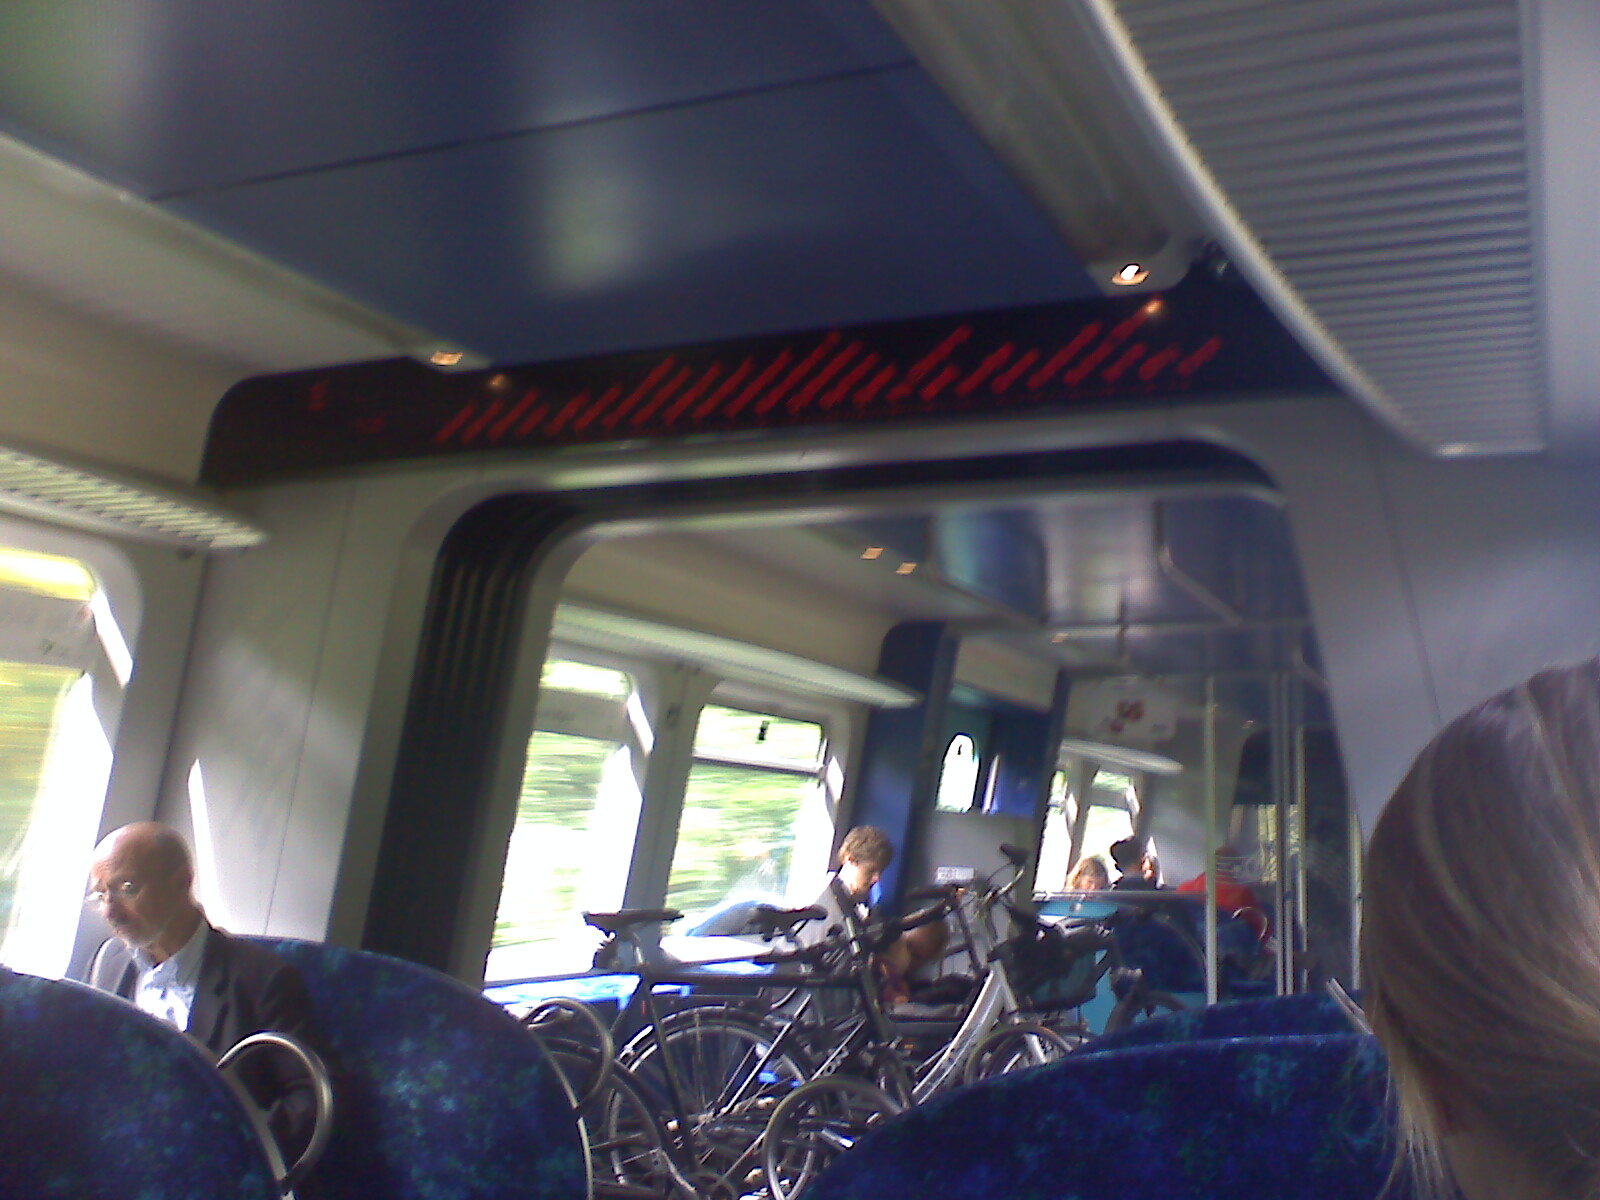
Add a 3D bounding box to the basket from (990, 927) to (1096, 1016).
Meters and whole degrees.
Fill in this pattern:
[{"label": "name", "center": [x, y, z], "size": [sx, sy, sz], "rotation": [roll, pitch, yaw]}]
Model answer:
[{"label": "basket", "center": [0.448, 0.681, 2.014], "size": [0.170, 0.128, 0.064], "rotation": [-7, -4, 23]}]
